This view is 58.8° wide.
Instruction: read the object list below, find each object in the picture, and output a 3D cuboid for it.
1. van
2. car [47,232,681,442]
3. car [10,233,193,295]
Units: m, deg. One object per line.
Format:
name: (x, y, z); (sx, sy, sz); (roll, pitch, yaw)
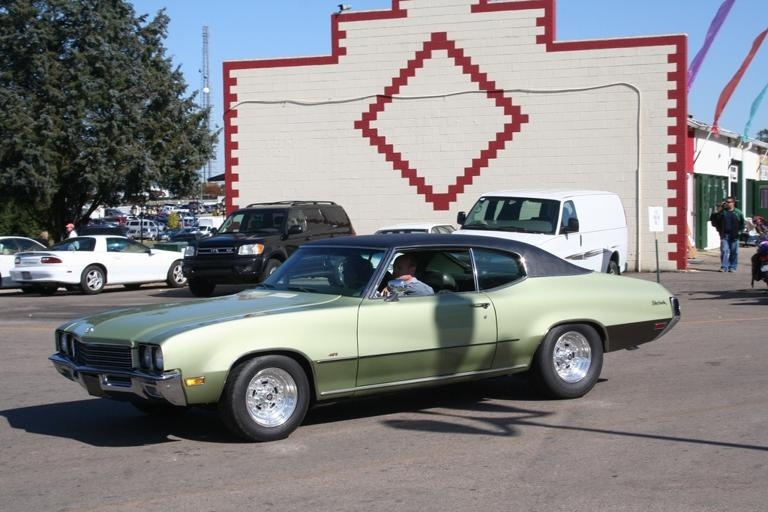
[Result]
van: (3.816, -0.640, 15.780); (4.126, 1.317, 2.316); (0, 1, -44)
car: (-0.054, 0.783, 7.612); (6.185, 2.046, 1.123); (-3, 5, -22)
car: (-8.998, 0.069, 21.220); (6.015, 1.247, 2.372); (-4, 5, -33)
